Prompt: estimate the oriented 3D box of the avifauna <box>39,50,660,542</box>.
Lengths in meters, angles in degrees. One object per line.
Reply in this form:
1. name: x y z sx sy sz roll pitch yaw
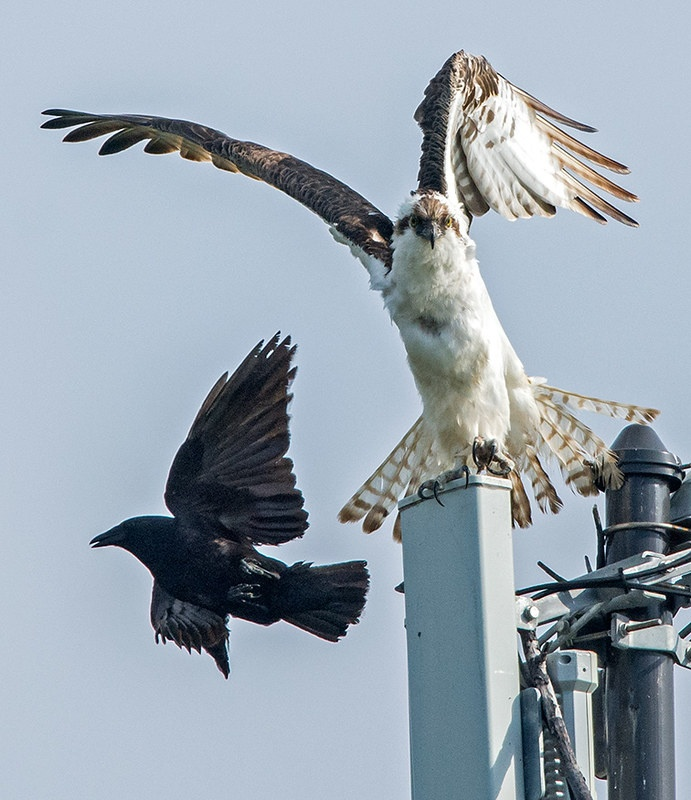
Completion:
1. avifauna: 0.372 -0.443 11.250 2.703 1.877 1.948 -4 2 16
